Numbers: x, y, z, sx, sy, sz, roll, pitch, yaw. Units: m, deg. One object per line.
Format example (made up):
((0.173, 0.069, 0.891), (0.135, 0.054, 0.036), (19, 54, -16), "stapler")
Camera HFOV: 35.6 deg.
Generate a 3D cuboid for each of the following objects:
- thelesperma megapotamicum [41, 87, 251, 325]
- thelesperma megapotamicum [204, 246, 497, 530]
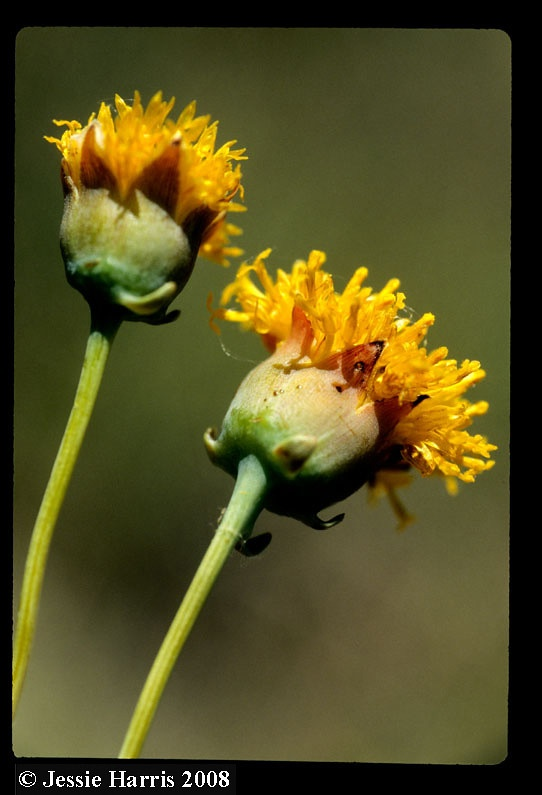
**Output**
((-0.123, -0.193, 0.883), (0.196, 0.164, 0.211), (-5, 69, -7), "thelesperma megapotamicum")
((0.080, 0.017, 0.979), (0.306, 0.372, 0.286), (4, 68, -4), "thelesperma megapotamicum")
